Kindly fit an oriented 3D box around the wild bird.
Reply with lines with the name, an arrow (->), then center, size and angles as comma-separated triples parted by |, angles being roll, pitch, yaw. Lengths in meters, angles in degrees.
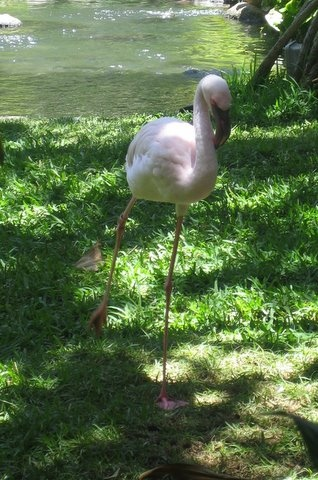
wild bird -> -0.012, -0.057, 2.280 | 0.496, 1.325, 0.951 | -3, 18, -16
